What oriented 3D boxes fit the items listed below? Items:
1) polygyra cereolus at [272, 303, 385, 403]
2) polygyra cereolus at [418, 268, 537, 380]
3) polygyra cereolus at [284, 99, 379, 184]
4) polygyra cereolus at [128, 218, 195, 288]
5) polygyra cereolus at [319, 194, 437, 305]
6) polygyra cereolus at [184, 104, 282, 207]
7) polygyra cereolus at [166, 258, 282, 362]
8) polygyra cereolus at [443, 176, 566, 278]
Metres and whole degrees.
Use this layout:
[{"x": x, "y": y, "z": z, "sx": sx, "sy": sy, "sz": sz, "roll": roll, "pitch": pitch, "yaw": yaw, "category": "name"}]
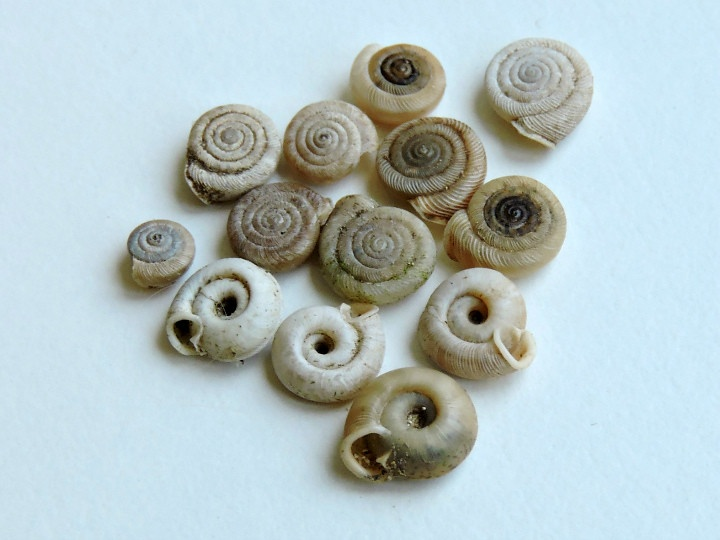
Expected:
[{"x": -0.108, "y": 0.280, "z": 3.085, "sx": 0.382, "sy": 0.168, "sz": 0.306, "roll": -1, "pitch": -83, "yaw": -2, "category": "polygyra cereolus"}, {"x": 0.385, "y": 0.187, "z": 3.049, "sx": 0.372, "sy": 0.188, "sz": 0.356, "roll": -14, "pitch": -83, "yaw": -1, "category": "polygyra cereolus"}, {"x": -0.118, "y": -0.484, "z": 3.293, "sx": 0.340, "sy": 0.121, "sz": 0.291, "roll": -33, "pitch": -83, "yaw": 2, "category": "polygyra cereolus"}, {"x": -0.717, "y": -0.085, "z": 3.238, "sx": 0.242, "sy": 0.313, "sz": 0.117, "roll": -13, "pitch": -42, "yaw": -15, "category": "polygyra cereolus"}, {"x": 0.054, "y": -0.060, "z": 3.176, "sx": 0.413, "sy": 0.171, "sz": 0.356, "roll": 16, "pitch": -84, "yaw": -4, "category": "polygyra cereolus"}, {"x": -0.470, "y": -0.440, "z": 3.273, "sx": 0.372, "sy": 0.102, "sz": 0.333, "roll": -23, "pitch": -83, "yaw": 0, "category": "polygyra cereolus"}, {"x": -0.464, "y": 0.132, "z": 3.086, "sx": 0.387, "sy": 0.122, "sz": 0.343, "roll": 5, "pitch": -84, "yaw": -3, "category": "polygyra cereolus"}, {"x": 0.513, "y": -0.165, "z": 3.177, "sx": 0.414, "sy": 0.144, "sz": 0.349, "roll": 5, "pitch": -84, "yaw": -3, "category": "polygyra cereolus"}]
